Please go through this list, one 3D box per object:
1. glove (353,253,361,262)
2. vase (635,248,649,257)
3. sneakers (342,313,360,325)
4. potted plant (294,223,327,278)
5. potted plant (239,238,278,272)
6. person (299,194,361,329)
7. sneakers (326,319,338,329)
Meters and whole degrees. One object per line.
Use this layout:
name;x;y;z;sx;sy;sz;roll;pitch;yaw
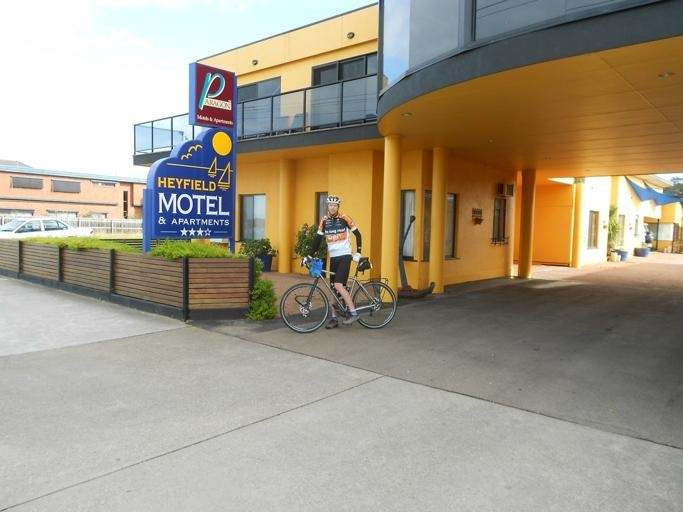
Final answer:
glove;0.235;0.032;8.304;0.112;0.138;0.130;14;12;7
vase;17.455;-0.262;29.930;0.588;0.389;0.569;-2;0;8
sneakers;0.131;1.070;8.741;0.310;0.141;0.156;-25;1;32
potted plant;-0.970;-0.439;15.225;0.612;1.024;0.757;6;2;-3
potted plant;-2.569;0.038;16.562;0.929;1.233;1.217;2;-13;-12
person;-0.093;0.074;8.563;0.793;2.117;0.495;1;8;-3
sneakers;-0.165;1.148;8.706;0.091;0.122;0.283;-2;-7;20
